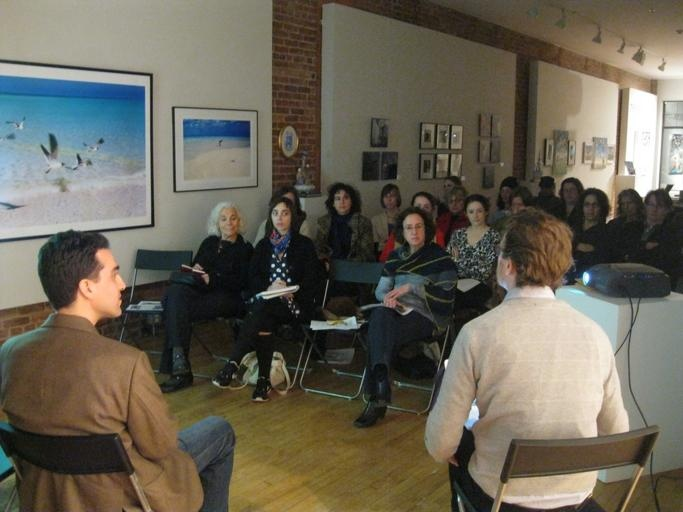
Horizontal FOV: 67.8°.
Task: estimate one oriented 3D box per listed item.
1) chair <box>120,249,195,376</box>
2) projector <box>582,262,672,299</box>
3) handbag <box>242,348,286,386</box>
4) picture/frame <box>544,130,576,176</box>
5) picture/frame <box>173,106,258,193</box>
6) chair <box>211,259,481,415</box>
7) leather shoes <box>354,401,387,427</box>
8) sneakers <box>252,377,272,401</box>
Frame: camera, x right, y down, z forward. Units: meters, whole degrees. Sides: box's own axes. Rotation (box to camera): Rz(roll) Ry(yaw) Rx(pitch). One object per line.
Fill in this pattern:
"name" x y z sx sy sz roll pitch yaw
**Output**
"chair" -1.853 0.427 5.112 0.648 0.864 0.690 -2 14 -9
"projector" 1.755 0.146 3.101 0.279 0.137 0.294 1 6 8
"handbag" -0.648 0.992 4.574 0.316 0.236 0.327 0 -2 10
"picture/frame" 5.447 -2.608 12.770 0.153 1.546 1.532 7 12 42
"picture/frame" -1.522 -1.263 5.985 0.038 0.871 1.028 12 16 43
"chair" 0.068 0.729 5.128 1.174 2.159 1.578 3 -9 34
"leather shoes" 0.218 1.215 3.938 0.121 0.151 0.337 6 6 41
"sneakers" -0.667 1.120 4.268 0.085 0.107 0.240 0 0 3
